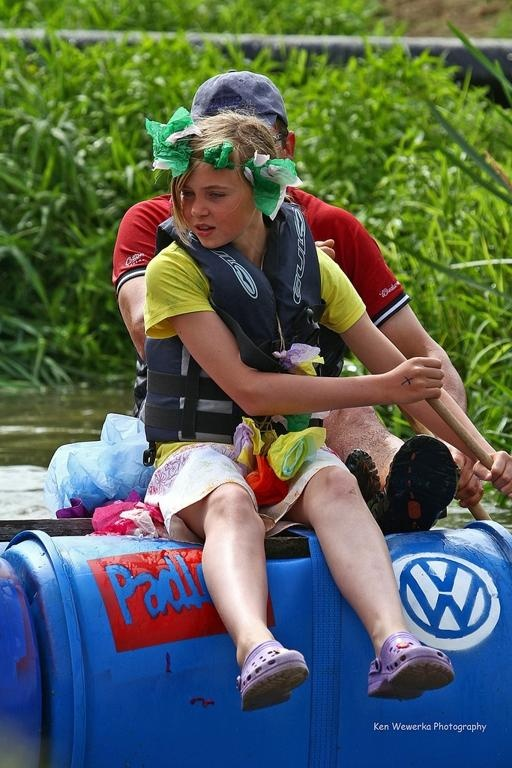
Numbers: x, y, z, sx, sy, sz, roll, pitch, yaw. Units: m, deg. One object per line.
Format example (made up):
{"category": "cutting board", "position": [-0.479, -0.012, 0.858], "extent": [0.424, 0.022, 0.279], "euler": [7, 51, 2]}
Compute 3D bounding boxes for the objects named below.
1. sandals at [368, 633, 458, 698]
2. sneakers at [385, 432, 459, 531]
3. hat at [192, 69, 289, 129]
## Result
{"category": "sandals", "position": [0.207, 0.395, 1.184], "extent": [0.071, 0.130, 0.057], "euler": [11, 60, -28]}
{"category": "sneakers", "position": [0.278, 0.163, 1.485], "extent": [0.096, 0.193, 0.077], "euler": [19, 34, -7]}
{"category": "hat", "position": [-0.039, -0.608, 1.800], "extent": [0.212, 0.129, 0.236], "euler": [-7, 21, 3]}
